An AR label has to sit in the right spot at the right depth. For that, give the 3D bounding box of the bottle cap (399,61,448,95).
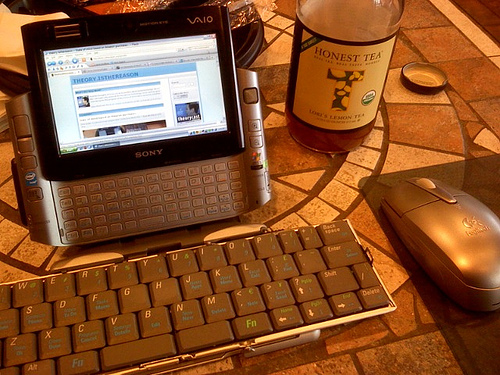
[{"bbox_3d":[0.309,-0.202,0.749,0.076,0.024,0.086,-17,57,-12],"label":"bottle cap"}]

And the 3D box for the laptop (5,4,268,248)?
[{"bbox_3d":[-0.138,-0.063,0.513,0.325,0.268,0.116,-9,34,-8],"label":"laptop"}]

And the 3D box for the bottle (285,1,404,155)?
[{"bbox_3d":[0.139,-0.175,0.631,0.154,0.181,0.186,7,56,4],"label":"bottle"}]

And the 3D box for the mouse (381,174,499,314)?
[{"bbox_3d":[0.250,0.063,0.584,0.102,0.067,0.193,-13,53,-13],"label":"mouse"}]
